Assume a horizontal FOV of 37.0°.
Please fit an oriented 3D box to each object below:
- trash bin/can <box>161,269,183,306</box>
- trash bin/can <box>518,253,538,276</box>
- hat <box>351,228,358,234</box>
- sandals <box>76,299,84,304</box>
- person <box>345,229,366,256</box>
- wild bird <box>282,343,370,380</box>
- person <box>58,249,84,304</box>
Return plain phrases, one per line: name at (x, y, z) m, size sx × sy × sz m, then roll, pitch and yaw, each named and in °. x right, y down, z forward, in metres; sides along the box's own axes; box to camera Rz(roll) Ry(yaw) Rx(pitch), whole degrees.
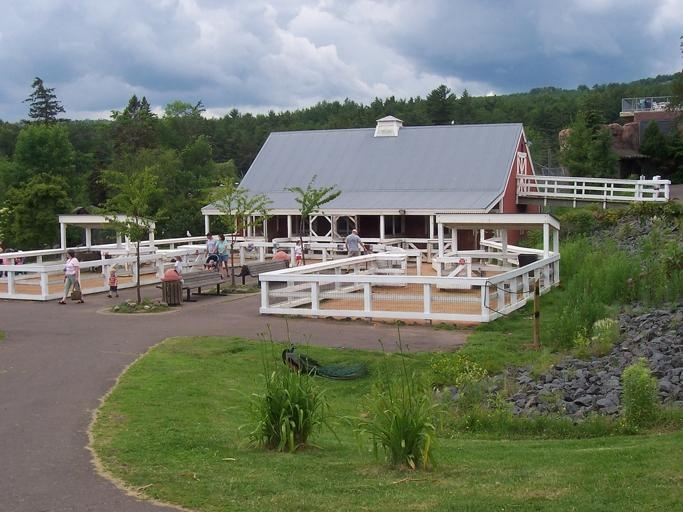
trash bin/can at (-4.946, 0.921, 29.977) m, size 0.562 × 0.981 × 0.565 m, roll -2°, pitch 14°, yaw -10°
trash bin/can at (5.419, 0.202, 29.881) m, size 0.523 × 0.461 × 0.801 m, roll -1°, pitch 0°, yaw 16°
hat at (0.551, -0.987, 41.193) m, size 0.204 × 0.267 × 0.286 m, roll 3°, pitch 11°, yaw 7°
sandals at (-7.887, 1.401, 31.119) m, size 0.080 × 0.106 × 0.251 m, roll -1°, pitch 6°, yaw -4°
person at (0.500, -0.296, 34.844) m, size 0.618 × 0.912 × 1.278 m, roll 1°, pitch 15°, yaw 1°
wild bird at (-0.409, 2.542, 23.003) m, size 1.715 × 0.688 × 0.915 m, roll 16°, pitch 1°, yaw -16°
person at (-8.442, 0.522, 32.029) m, size 0.683 × 1.695 × 2.926 m, roll -3°, pitch 15°, yaw -14°
